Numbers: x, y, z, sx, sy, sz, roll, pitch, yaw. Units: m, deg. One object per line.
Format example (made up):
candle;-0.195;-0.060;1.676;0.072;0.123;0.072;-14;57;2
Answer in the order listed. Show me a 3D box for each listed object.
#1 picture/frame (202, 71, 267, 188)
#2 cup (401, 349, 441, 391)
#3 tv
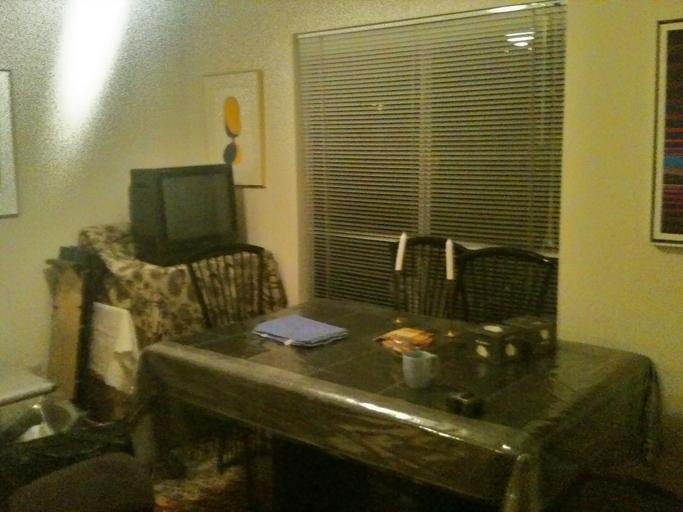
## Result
picture/frame;-0.324;-0.377;1.723;0.207;0.314;0.020;6;11;22
cup;0.107;0.161;0.819;0.047;0.048;0.052;-5;12;-37
tv;-0.371;-0.095;1.321;0.142;0.179;0.253;7;14;25
